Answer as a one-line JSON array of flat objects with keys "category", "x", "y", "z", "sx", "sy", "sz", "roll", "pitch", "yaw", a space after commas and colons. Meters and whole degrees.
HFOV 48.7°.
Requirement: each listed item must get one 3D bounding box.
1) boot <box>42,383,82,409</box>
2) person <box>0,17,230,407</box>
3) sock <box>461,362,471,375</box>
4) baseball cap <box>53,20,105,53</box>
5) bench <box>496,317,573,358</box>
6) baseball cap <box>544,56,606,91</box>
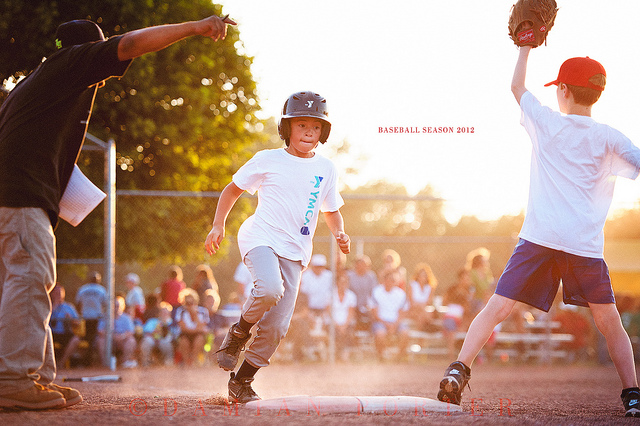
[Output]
[{"category": "boot", "x": -2.095, "y": 1.435, "z": 5.674, "sx": 0.395, "sy": 0.174, "sz": 0.134, "roll": -9, "pitch": 13, "yaw": 19}, {"category": "person", "x": -1.936, "y": -0.050, "z": 5.474, "sx": 1.261, "sy": 3.054, "sz": 0.549, "roll": 3, "pitch": -5, "yaw": -3}, {"category": "sock", "x": 1.204, "y": 1.276, "z": 5.814, "sx": 0.024, "sy": 0.094, "sz": 0.083, "roll": -2, "pitch": -7, "yaw": 41}, {"category": "baseball cap", "x": -1.986, "y": -1.441, "z": 5.774, "sx": 0.417, "sy": 0.316, "sz": 0.204, "roll": 1, "pitch": -5, "yaw": 17}, {"category": "bench", "x": 3.577, "y": 2.118, "z": 11.992, "sx": 1.101, "sy": 0.807, "sz": 0.492, "roll": 0, "pitch": -15, "yaw": 9}, {"category": "baseball cap", "x": 2.190, "y": -1.215, "z": 6.127, "sx": 0.525, "sy": 0.287, "sz": 0.372, "roll": 11, "pitch": 7, "yaw": 43}]
